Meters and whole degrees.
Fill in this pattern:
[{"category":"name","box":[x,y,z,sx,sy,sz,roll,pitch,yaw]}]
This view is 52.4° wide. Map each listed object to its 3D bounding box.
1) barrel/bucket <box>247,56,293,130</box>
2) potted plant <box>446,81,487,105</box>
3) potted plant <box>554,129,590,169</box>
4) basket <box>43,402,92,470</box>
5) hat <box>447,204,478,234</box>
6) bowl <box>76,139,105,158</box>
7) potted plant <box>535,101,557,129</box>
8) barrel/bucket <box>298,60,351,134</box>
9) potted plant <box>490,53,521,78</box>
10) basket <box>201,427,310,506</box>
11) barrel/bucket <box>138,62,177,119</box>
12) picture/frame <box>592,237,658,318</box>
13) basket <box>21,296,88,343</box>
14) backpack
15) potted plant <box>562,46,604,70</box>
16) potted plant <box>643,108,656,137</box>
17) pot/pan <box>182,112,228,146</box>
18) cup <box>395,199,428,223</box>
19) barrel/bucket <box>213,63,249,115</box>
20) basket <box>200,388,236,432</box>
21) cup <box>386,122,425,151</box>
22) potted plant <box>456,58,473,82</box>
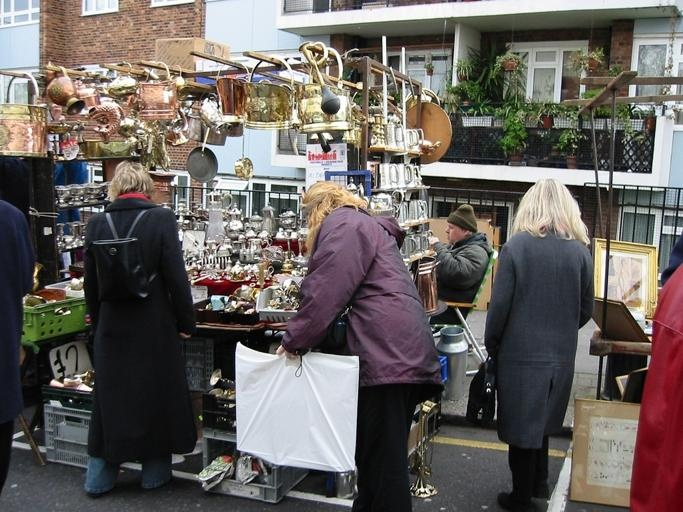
[{"category":"barrel/bucket","box":[-0.554,-1.395,6.223,0.455,0.664,0.647,2,1,11]},{"category":"potted plant","box":[2.870,-3.714,15.828,0.907,0.658,0.402,3,13,9]},{"category":"potted plant","box":[4.837,-2.270,14.551,0.721,0.824,0.275,6,14,18]},{"category":"basket","box":[-2.321,1.537,5.917,0.455,0.354,0.276,10,-5,4]},{"category":"hat","box":[1.400,-0.448,7.958,0.303,0.271,0.284,23,5,9]},{"category":"bowl","box":[-2.949,-1.254,8.158,0.212,0.161,0.217,-1,-2,0]},{"category":"potted plant","box":[4.365,-3.000,14.923,0.491,0.573,0.483,1,-7,2]},{"category":"barrel/bucket","box":[-0.144,-1.221,5.427,0.358,0.380,0.419,-1,-6,-3]},{"category":"potted plant","box":[3.784,-4.354,15.791,0.691,0.505,0.727,4,14,13]},{"category":"basket","box":[-0.690,1.620,5.633,0.596,0.404,0.623,-2,-9,23]},{"category":"barrel/bucket","box":[-1.833,-1.549,6.911,0.348,0.369,0.197,-3,14,-17]},{"category":"picture/frame","box":[2.681,0.230,6.566,0.649,0.846,0.085,5,-13,4]},{"category":"basket","box":[-2.526,0.537,6.130,0.317,0.209,0.462,3,7,26]},{"category":"backpack","box":[-1.709,0.007,5.454,0.463,0.704,0.317,-2,13,-12]},{"category":"potted plant","box":[5.519,-4.362,15.420,0.708,0.438,0.715,-6,9,-44]},{"category":"potted plant","box":[6.170,-2.695,13.858,0.232,0.522,0.301,7,14,23]},{"category":"pot/pan","box":[-1.541,-1.394,7.804,0.363,0.279,0.379,15,-7,3]},{"category":"cup","box":[0.699,-0.458,6.853,0.362,0.291,0.206,-6,8,-25]},{"category":"barrel/bucket","box":[-1.019,-1.570,6.484,0.269,0.498,1.068,-1,14,-8]},{"category":"basket","box":[-0.967,1.247,5.727,0.426,0.311,0.241,4,-7,10]},{"category":"cup","box":[0.608,-1.186,6.911,0.230,0.295,0.411,6,8,37]},{"category":"potted plant","box":[2.809,-4.253,15.840,0.393,0.434,0.413,-1,0,-4]}]
